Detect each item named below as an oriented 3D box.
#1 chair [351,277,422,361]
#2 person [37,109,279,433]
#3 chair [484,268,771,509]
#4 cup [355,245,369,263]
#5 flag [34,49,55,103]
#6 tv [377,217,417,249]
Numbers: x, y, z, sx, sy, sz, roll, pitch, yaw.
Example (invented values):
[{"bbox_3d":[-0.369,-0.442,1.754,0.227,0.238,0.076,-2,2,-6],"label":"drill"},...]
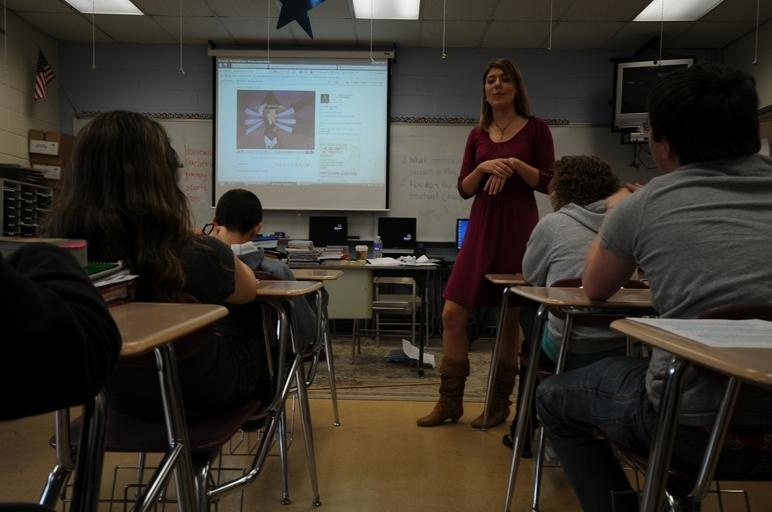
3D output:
[{"bbox_3d":[0.063,0.527,5.651,0.635,1.122,0.701,1,5,2],"label":"chair"},{"bbox_3d":[-0.649,0.053,1.758,0.674,0.982,0.414,-4,10,-31],"label":"person"},{"bbox_3d":[0.810,0.629,2.400,1.074,0.953,0.817,4,8,4],"label":"chair"},{"bbox_3d":[-0.203,-0.020,4.974,0.144,0.190,0.141,1,3,0],"label":"cup"},{"bbox_3d":[-3.607,-1.905,5.984,0.152,0.542,0.381,0,9,-8],"label":"flag"},{"bbox_3d":[0.116,-0.241,5.918,0.325,0.262,0.045,0,4,0],"label":"tv"}]
